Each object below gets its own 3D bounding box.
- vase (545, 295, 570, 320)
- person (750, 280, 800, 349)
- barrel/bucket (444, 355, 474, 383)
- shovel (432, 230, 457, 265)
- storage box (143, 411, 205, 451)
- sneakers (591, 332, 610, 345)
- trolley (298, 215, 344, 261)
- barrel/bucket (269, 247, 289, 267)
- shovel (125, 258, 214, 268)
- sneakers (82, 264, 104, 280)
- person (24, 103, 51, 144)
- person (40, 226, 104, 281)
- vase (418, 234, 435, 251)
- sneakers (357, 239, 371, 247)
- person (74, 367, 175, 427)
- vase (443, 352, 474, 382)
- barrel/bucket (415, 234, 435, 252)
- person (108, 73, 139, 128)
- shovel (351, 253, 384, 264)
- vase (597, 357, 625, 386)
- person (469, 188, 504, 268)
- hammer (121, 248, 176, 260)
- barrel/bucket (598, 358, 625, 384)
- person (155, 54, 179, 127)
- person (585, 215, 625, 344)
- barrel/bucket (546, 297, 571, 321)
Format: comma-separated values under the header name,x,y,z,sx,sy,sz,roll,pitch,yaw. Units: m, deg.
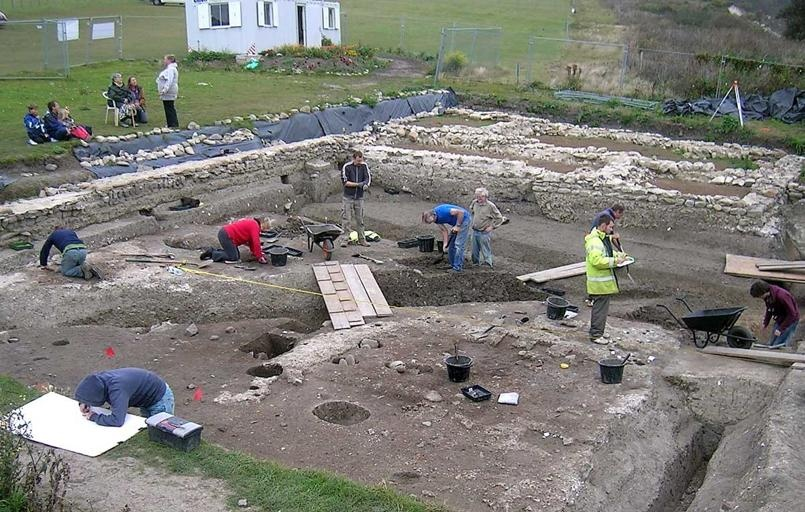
name,x,y,z,sx,sy,sz,roll,pitch,yaw
vase,3.296,1.116,16.643,0.479,0.342,0.483,-4,13,-28
person,7.876,1.313,16.328,1.001,1.530,0.791,-3,27,19
barrel/bucket,1.063,2.207,14.874,0.537,0.330,0.531,0,7,0
shovel,0.997,-0.190,19.051,0.319,0.808,0.408,0,13,-37
storage box,-3.831,2.999,13.012,0.876,0.353,0.522,12,18,31
sneakers,4.053,1.719,15.839,0.316,0.132,0.196,6,26,28
trolley,-2.052,-0.455,18.873,0.872,0.648,1.624,-4,18,-34
barrel/bucket,-2.944,0.011,18.032,0.441,0.302,0.423,-1,19,0
shovel,-5.356,0.168,17.569,1.840,0.284,0.592,-3,6,1
sneakers,-6.705,0.385,16.657,0.533,0.210,0.250,17,-2,2
person,-9.567,-3.430,20.075,0.527,0.988,0.564,-12,22,-31
person,-7.191,-0.042,16.620,1.355,1.097,0.461,4,19,11
vase,0.570,-0.318,19.428,0.405,0.278,0.387,3,16,14
sneakers,-0.998,-0.299,19.689,0.277,0.104,0.138,7,20,26
person,-4.813,2.457,13.360,1.674,0.866,1.224,-3,10,-45
vase,1.081,2.205,15.048,0.570,0.337,0.536,1,9,7
barrel/bucket,0.548,-0.309,19.448,0.435,0.298,0.413,-2,18,1
person,-7.972,-4.435,21.922,0.971,1.414,0.678,17,25,42
shovel,-0.864,0.087,18.854,0.693,0.096,0.289,12,23,32
vase,4.058,2.253,14.907,0.489,0.333,0.469,6,11,39
person,2.051,-0.736,19.016,0.704,2.043,1.262,3,19,7
hammer,-5.854,0.010,17.710,1.180,0.126,0.363,3,10,-12
barrel/bucket,4.057,2.252,14.952,0.486,0.330,0.452,0,13,0
person,-6.717,-4.728,22.109,0.548,2.003,1.311,-6,20,-16
person,4.036,0.506,15.647,0.753,2.646,0.742,4,20,12
barrel/bucket,3.313,1.116,16.617,0.492,0.342,0.460,2,20,-1
